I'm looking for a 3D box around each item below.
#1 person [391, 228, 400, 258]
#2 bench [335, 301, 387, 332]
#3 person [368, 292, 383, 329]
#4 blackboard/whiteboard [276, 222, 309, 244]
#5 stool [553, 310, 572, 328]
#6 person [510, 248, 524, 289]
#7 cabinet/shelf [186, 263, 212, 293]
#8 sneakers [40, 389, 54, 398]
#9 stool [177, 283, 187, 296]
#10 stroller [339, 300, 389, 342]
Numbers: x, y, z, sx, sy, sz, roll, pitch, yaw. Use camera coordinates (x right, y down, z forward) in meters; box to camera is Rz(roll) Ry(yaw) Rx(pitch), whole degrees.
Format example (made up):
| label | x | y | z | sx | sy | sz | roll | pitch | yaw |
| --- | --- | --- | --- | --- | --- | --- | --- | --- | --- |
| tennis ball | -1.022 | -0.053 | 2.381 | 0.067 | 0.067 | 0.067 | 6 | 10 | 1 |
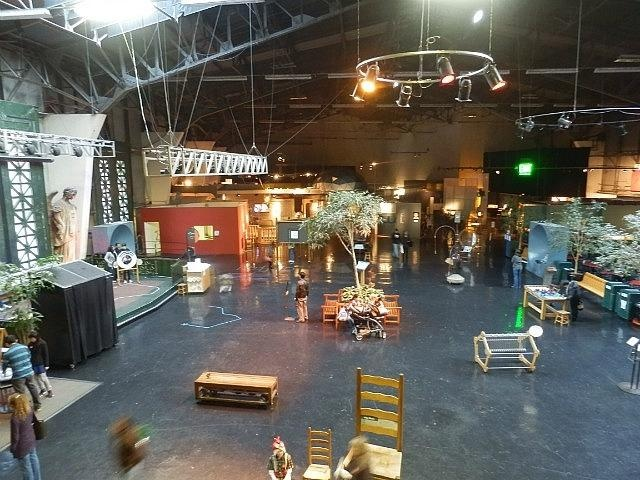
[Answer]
| label | x | y | z | sx | sy | sz | roll | pitch | yaw |
| --- | --- | --- | --- | --- | --- | --- | --- | --- | --- |
| person | 4.082 | 0.189 | 23.627 | 0.372 | 1.514 | 0.824 | 2 | 13 | 10 |
| bench | 1.413 | 2.448 | 13.972 | 1.284 | 0.820 | 1.131 | 5 | 11 | 5 |
| person | 1.795 | 2.253 | 14.126 | 0.342 | 0.802 | 0.635 | 5 | -6 | -3 |
| blackboard/whiteboard | -1.174 | -0.349 | 19.505 | 1.214 | 0.757 | 0.177 | 0 | 5 | 5 |
| stool | 7.936 | 2.579 | 14.645 | 0.538 | 0.649 | 0.513 | -5 | 10 | -26 |
| person | 8.424 | 1.197 | 18.864 | 0.450 | 1.385 | 2.004 | 6 | 13 | 25 |
| cabinet/shelf | -5.022 | 1.508 | 18.254 | 0.792 | 1.191 | 1.092 | 1 | 12 | 5 |
| sneakers | -6.659 | 3.800 | 10.899 | 0.384 | 0.235 | 0.121 | 4 | 2 | -14 |
| stool | -5.551 | 1.983 | 17.884 | 0.385 | 0.419 | 0.263 | -5 | 14 | -19 |
| stroller | 1.371 | 2.507 | 13.957 | 1.519 | 1.285 | 1.055 | 1 | 1 | 5 |
